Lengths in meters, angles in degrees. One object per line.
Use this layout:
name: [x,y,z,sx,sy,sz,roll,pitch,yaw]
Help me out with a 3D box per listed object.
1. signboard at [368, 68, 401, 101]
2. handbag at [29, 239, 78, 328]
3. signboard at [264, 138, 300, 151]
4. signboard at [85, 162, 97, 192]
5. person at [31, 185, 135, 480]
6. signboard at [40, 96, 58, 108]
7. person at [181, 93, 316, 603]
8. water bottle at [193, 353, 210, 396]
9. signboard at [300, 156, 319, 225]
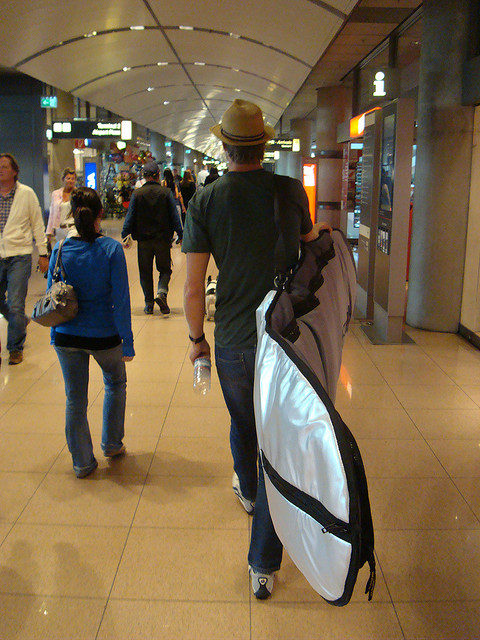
signboard: [2.278,-3.705,7.586,0.447,0.490,0.301,3,10,18]
handbag: [-0.983,-0.218,2.550,0.312,0.510,0.125,-15,-19,42]
signboard: [1.904,-7.820,21.209,1.412,0.674,1.275,1,11,8]
signboard: [-7.140,-6.989,22.977,0.495,1.090,1.046,-4,11,-21]
person: [-0.849,0.097,2.614,0.494,1.615,0.364,-4,10,-25]
signboard: [-5.459,-6.270,13.699,0.442,0.396,0.703,-5,12,-24]
person: [0.032,0.051,2.035,0.470,1.814,0.900,-2,17,-1]
water bottle: [-0.150,0.220,1.888,0.060,0.156,0.152,-1,10,-4]
signboard: [1.927,-3.403,13.448,0.471,2.759,0.276,4,-25,-3]
